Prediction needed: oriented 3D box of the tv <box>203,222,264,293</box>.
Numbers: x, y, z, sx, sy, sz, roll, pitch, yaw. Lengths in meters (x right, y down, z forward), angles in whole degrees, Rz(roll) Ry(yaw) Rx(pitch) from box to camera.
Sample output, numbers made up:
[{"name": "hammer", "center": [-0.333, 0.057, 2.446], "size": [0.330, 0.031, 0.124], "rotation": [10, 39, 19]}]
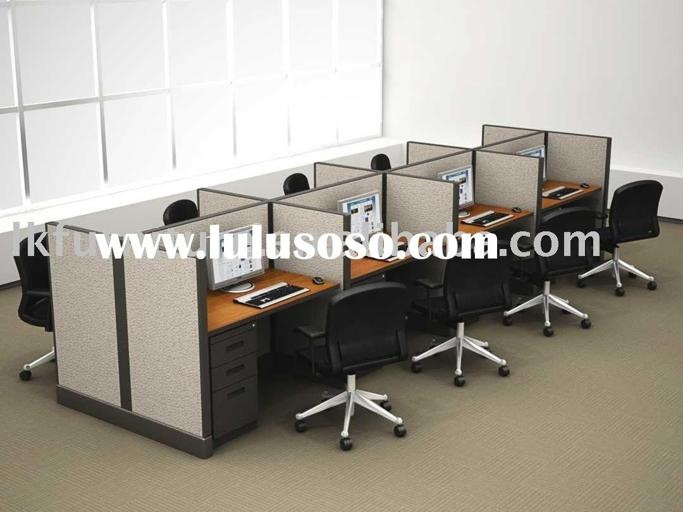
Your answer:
[{"name": "tv", "center": [-0.818, 0.014, 4.331], "size": [0.179, 0.358, 0.488], "rotation": [12, 19, 35]}]

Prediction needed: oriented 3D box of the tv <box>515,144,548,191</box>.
[{"name": "tv", "center": [2.012, -0.944, 6.258], "size": [0.639, 0.582, 0.062], "rotation": [-16, 26, -40]}]
